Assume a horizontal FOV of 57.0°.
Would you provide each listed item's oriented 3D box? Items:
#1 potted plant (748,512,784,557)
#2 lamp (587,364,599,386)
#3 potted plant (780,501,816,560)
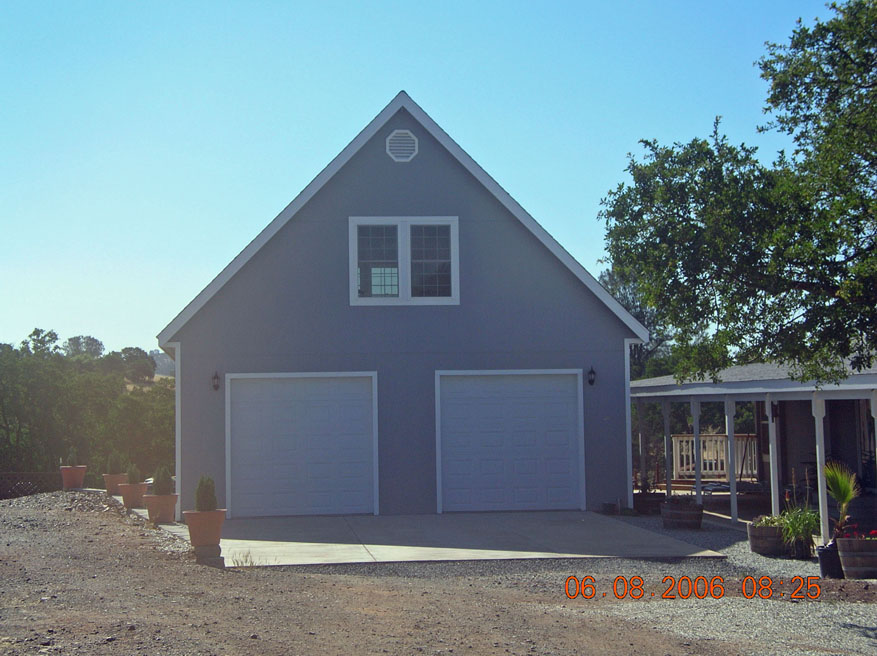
[{"bbox_3d":[5.911,3.797,14.551,0.517,0.424,0.510,-9,-13,38],"label":"potted plant"},{"bbox_3d":[3.658,1.156,19.317,0.289,0.430,0.076,3,-8,-19],"label":"lamp"},{"bbox_3d":[6.455,3.697,14.510,0.550,0.878,0.704,-6,-11,37],"label":"potted plant"}]
